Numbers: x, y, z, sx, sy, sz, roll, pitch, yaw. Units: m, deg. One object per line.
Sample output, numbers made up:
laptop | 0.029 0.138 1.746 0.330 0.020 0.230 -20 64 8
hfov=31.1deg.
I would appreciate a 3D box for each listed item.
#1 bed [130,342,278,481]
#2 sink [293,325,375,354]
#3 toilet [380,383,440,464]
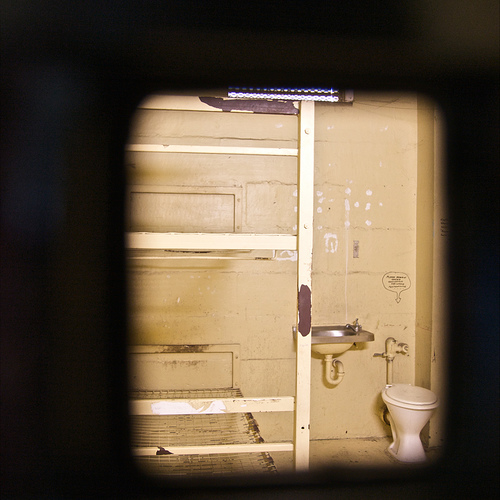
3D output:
bed | -0.233 0.662 3.834 0.637 0.536 1.230 1 -6 -1
sink | 0.372 0.409 4.152 0.206 0.090 0.240 -2 3 -6
toilet | 0.724 0.809 4.191 0.244 0.337 0.328 1 -2 -5
